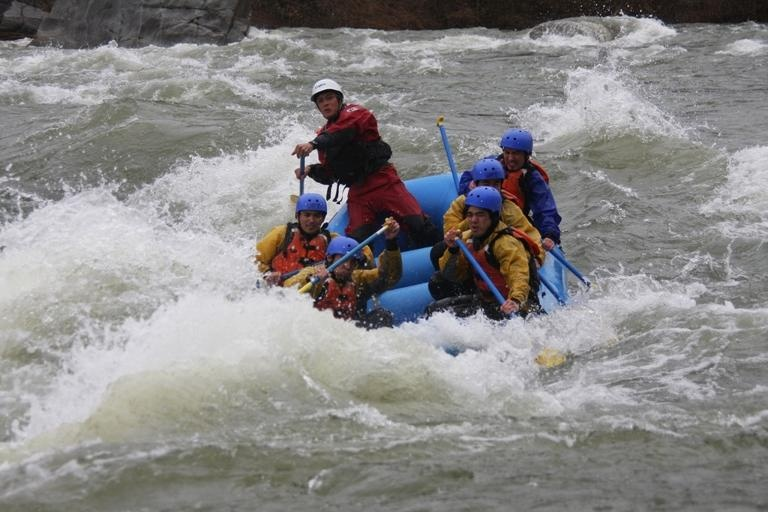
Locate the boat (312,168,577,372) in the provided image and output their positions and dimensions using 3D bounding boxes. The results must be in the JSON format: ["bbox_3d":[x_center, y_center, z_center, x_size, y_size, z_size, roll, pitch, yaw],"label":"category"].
[{"bbox_3d":[0.851,0.604,13.270,2.992,0.976,2.535,0,49,2],"label":"boat"}]

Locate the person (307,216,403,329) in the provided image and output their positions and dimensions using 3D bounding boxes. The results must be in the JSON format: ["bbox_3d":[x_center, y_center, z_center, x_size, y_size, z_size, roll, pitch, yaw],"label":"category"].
[{"bbox_3d":[-0.350,0.234,11.754,1.048,1.112,0.680,21,-22,-12],"label":"person"}]

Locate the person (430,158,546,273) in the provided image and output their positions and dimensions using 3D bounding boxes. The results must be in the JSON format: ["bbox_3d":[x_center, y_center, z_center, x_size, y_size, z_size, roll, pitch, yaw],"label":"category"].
[{"bbox_3d":[1.259,-0.673,12.143,1.182,0.566,1.419,-1,39,6],"label":"person"}]

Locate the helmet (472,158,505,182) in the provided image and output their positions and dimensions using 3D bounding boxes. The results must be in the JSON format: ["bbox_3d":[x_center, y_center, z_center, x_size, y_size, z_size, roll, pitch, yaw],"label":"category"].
[{"bbox_3d":[1.259,-1.041,11.966,0.267,0.242,0.333,-1,-14,-2],"label":"helmet"}]

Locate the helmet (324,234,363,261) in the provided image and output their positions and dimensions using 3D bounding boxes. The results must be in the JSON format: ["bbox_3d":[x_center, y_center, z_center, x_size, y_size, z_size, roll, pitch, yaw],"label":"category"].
[{"bbox_3d":[-0.482,-0.107,11.727,0.365,0.245,0.270,-11,5,1],"label":"helmet"}]

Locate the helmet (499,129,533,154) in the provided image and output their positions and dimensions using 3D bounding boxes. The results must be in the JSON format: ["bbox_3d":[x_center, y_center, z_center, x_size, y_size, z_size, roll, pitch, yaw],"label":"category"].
[{"bbox_3d":[1.661,-1.437,12.356,0.332,0.295,0.384,15,17,3],"label":"helmet"}]

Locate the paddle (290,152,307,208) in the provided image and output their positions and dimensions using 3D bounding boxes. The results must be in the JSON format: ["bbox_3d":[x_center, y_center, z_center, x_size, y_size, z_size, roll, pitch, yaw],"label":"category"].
[{"bbox_3d":[-1.055,-0.898,12.525,0.139,0.734,0.399,4,21,-14],"label":"paddle"}]
